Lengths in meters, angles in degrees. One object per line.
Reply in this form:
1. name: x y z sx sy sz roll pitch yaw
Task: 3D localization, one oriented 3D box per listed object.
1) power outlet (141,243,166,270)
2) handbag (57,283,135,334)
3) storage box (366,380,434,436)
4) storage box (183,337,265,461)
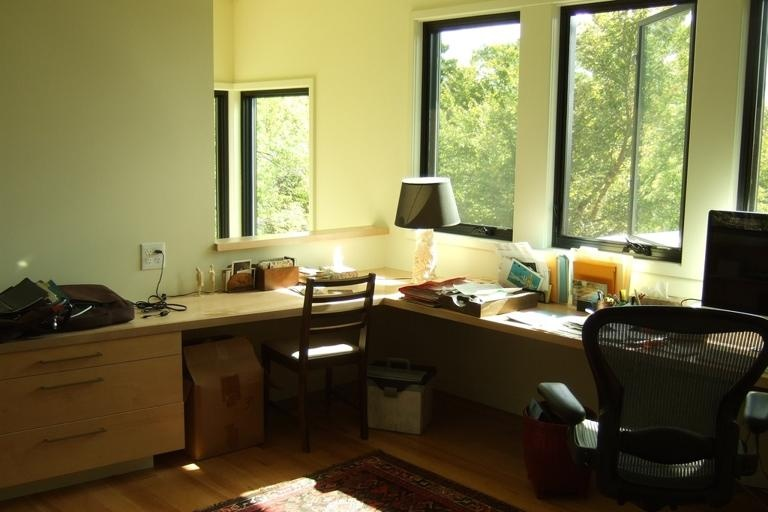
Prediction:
1. power outlet: -1.491 -0.003 3.761 0.169 0.189 0.020 -2 7 -40
2. handbag: -1.623 0.287 3.309 0.250 0.110 0.344 15 10 42
3. storage box: 0.135 1.032 4.137 0.537 0.310 0.535 0 -3 -4
4. storage box: -1.025 0.857 3.923 0.626 0.837 0.639 -4 15 -24
